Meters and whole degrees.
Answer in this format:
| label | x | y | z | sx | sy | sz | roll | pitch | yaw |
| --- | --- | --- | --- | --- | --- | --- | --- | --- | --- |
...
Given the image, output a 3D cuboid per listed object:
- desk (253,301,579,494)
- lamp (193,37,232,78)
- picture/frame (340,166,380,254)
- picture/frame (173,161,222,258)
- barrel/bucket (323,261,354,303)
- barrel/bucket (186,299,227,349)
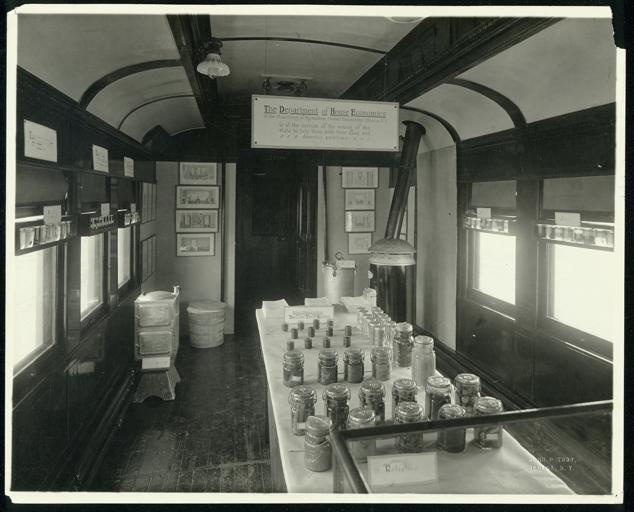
| label | x | y | z | sx | sy | sz | roll | pitch | yaw |
| --- | --- | --- | --- | --- | --- | --- | --- | --- | --- |
| desk | 0.268 | 0.923 | 3.541 | 1.264 | 0.766 | 2.480 | -7 | 13 | -13 |
| lamp | -0.707 | -1.363 | 3.672 | 0.172 | 0.209 | 0.183 | -8 | -5 | 32 |
| picture/frame | 0.513 | -0.485 | 6.120 | 0.432 | 1.048 | 0.300 | -3 | 12 | 6 |
| picture/frame | -1.529 | -0.571 | 6.856 | 0.646 | 1.229 | 0.345 | -5 | 12 | -7 |
| barrel/bucket | 0.266 | 0.278 | 6.143 | 0.376 | 0.479 | 0.353 | -4 | 12 | 1 |
| barrel/bucket | -1.356 | 0.847 | 6.713 | 0.477 | 0.455 | 0.490 | 0 | 1 | 0 |
